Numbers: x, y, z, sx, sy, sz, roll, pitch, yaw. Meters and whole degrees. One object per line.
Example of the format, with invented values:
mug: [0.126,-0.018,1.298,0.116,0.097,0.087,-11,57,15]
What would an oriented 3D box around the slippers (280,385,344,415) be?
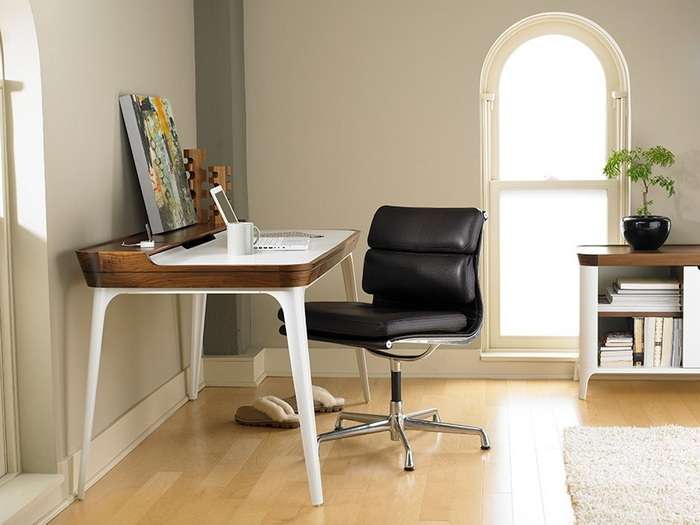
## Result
slippers: [-0.205,0.766,3.397,0.337,0.137,0.153,-4,4,-4]

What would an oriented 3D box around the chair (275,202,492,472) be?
chair: [0.175,0.315,2.875,0.967,1.127,0.894,-2,4,-15]

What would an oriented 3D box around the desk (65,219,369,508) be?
desk: [-0.558,0.370,2.919,1.063,1.032,1.283,-1,7,8]

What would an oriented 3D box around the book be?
book: [1.723,0.337,3.784,0.457,0.607,0.634,1,2,12]

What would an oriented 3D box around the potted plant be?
potted plant: [1.746,-0.391,3.666,0.377,0.608,0.477,2,9,27]

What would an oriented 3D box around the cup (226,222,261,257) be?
cup: [-0.436,-0.095,2.564,0.175,0.143,0.105,1,-1,-37]

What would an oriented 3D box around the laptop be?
laptop: [-0.416,-0.144,2.763,0.407,0.276,0.392,-1,4,0]

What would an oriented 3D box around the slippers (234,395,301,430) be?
slippers: [-0.427,0.784,3.171,0.284,0.099,0.161,-2,1,8]
